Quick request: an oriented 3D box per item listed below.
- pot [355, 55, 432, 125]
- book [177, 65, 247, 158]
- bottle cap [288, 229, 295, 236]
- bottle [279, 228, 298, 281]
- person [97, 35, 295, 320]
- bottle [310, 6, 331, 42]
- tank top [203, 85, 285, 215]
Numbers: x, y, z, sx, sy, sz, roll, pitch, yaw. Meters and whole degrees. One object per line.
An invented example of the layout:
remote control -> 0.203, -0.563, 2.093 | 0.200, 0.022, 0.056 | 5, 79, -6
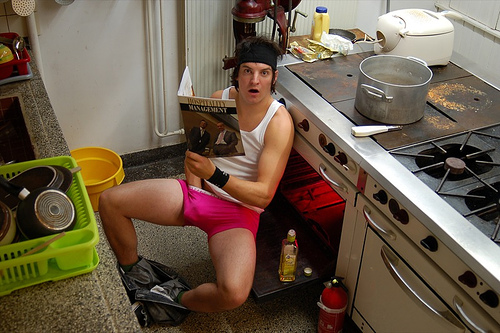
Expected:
pot -> 0.811, -0.444, 1.980 | 0.450, 0.228, 0.373 | -23, 41, -17
book -> -0.213, -0.215, 1.776 | 0.345, 0.400, 0.175 | 28, 56, 26
bottle cap -> 0.239, 0.367, 1.974 | 0.024, 0.023, 0.025 | -7, 34, -10
bottle -> 0.223, 0.506, 2.049 | 0.106, 0.312, 0.109 | 4, 23, -2
person -> -0.322, 0.036, 2.096 | 0.975, 1.629, 0.887 | 14, 11, 4
bottle -> 0.505, -1.035, 2.549 | 0.126, 0.202, 0.249 | 6, 36, 7
tank top -> -0.047, -0.086, 2.109 | 0.394, 0.582, 0.458 | 12, 37, 16
